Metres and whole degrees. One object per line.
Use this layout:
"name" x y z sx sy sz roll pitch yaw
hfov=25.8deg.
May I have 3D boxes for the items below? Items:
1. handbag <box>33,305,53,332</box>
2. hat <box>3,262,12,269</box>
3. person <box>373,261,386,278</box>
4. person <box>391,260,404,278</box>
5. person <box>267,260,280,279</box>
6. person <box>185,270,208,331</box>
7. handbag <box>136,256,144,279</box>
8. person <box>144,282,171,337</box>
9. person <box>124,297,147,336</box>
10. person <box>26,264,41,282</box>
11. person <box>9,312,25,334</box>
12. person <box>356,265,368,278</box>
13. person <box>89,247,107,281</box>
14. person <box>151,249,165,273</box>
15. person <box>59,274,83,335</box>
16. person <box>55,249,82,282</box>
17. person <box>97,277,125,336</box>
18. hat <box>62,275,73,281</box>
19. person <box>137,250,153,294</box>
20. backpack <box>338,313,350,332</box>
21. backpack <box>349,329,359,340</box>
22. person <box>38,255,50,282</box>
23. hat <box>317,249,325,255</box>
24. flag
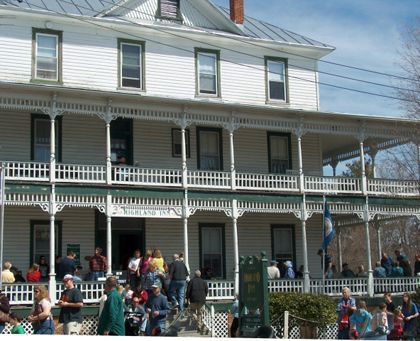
"handbag" -5.244 4.813 29.223 0.687 0.906 0.519 -1 -13 -7
"hat" -7.336 3.444 33.415 0.195 0.277 0.856 1 -10 -15
"person" 7.084 4.167 38.593 0.568 0.884 0.556 0 -2 3
"person" 7.828 4.106 38.479 0.519 0.728 0.998 -3 -10 11
"person" 2.582 4.006 37.122 0.426 0.753 0.871 -2 -10 6
"person" -0.445 4.649 32.776 0.776 2.137 0.461 0 -10 -4
"handbag" -2.557 3.598 34.453 0.317 0.622 0.437 13 -10 -10
"person" -1.752 4.666 31.065 0.761 1.771 1.467 0 -10 -5
"person" -2.424 4.784 30.315 0.716 1.267 1.548 0 -10 -4
"person" -6.649 3.889 34.746 0.488 0.764 1.658 1 -10 -11
"person" -6.219 4.964 29.596 0.450 0.841 0.851 -3 -8 -25
"person" 6.336 4.234 38.497 0.425 0.555 1.254 -3 -10 9
"person" -4.297 3.623 35.498 0.633 1.267 0.770 0 -10 -8
"person" -1.829 3.514 34.028 0.462 1.155 0.438 -9 10 -5
"person" -4.438 4.276 29.445 0.759 1.909 0.698 -1 -10 -1
"person" -5.192 3.534 34.143 0.610 1.032 0.743 -14 29 -43
"person" -2.927 4.023 27.278 0.797 1.705 0.610 0 -10 -7
"hat" -4.549 3.419 29.471 0.289 0.128 0.394 -1 -2 -17
"person" -2.361 3.774 34.347 0.474 1.679 0.424 4 20 -3
"backpack" 4.788 5.364 32.740 0.259 0.621 0.562 4 -12 -29
"backpack" 4.894 5.616 31.461 0.401 0.418 0.427 1 -13 -3
"person" -6.635 4.045 36.482 0.458 1.335 0.372 4 -7 -25
"hat" 4.519 3.321 37.465 0.307 0.103 0.292 -4 -12 -20
"flag" 4.682 2.904 37.276 0.737 3.156 0.503 3 11 17
